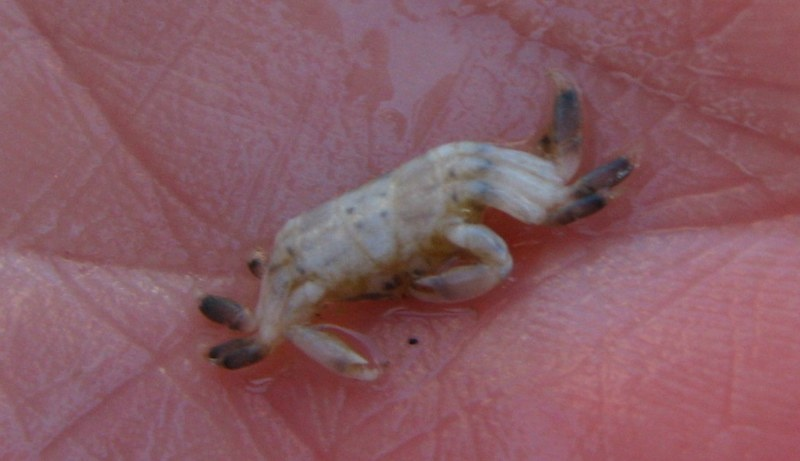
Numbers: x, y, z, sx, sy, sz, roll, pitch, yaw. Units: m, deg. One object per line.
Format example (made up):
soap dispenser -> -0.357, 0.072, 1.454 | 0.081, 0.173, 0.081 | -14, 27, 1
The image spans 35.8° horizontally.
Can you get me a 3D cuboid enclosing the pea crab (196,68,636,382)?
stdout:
pea crab -> 0.024, 0.040, 4.181 | 1.530, 0.219, 0.573 | -35, 79, -3
